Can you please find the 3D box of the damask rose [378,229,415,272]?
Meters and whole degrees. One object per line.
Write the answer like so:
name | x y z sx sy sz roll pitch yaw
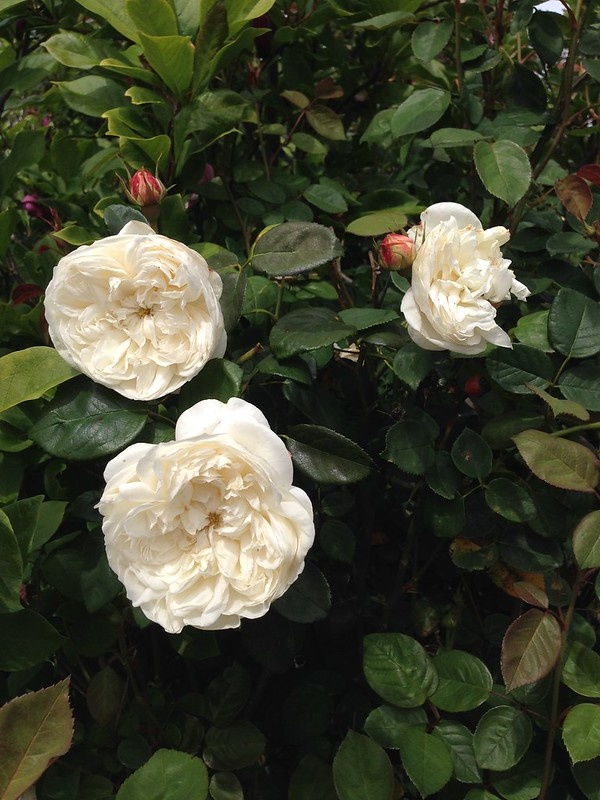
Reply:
damask rose | 0.125 -0.191 0.986 0.047 0.051 0.044 5 84 -23

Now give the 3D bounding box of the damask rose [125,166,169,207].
damask rose | -0.205 -0.278 1.022 0.062 0.052 0.062 -1 60 -11

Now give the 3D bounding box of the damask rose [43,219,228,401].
damask rose | -0.197 -0.100 0.901 0.195 0.137 0.166 -17 54 -14

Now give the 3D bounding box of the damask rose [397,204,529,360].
damask rose | 0.190 -0.141 1.007 0.213 0.093 0.175 3 85 -27
